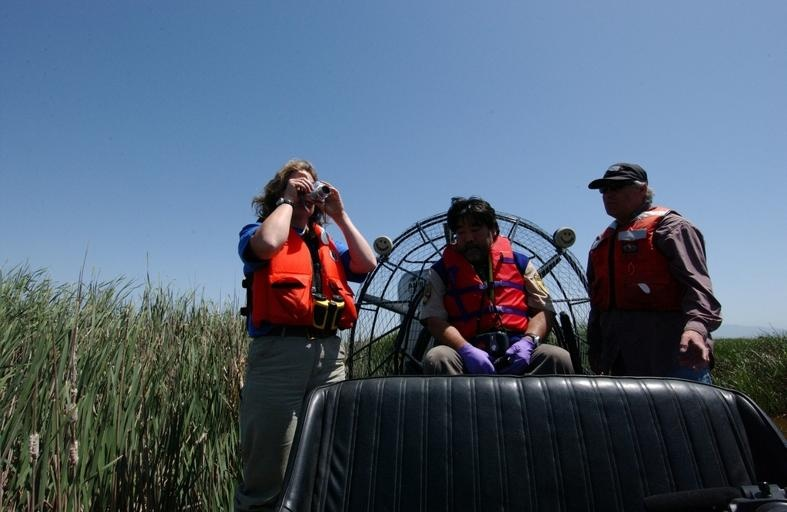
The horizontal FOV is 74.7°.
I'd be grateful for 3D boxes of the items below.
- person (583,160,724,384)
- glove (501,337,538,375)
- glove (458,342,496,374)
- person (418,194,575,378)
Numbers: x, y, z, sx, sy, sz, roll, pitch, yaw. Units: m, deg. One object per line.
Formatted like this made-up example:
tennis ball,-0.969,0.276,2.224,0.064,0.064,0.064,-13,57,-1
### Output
person,2.149,0.108,4.523,1.077,1.977,0.653,-12,-17,36
glove,1.030,0.799,4.202,0.336,0.098,0.249,-37,35,-27
glove,0.670,0.844,4.230,0.288,0.243,0.177,-3,-14,4
person,0.817,0.239,4.528,1.192,1.597,0.578,-3,-14,3
